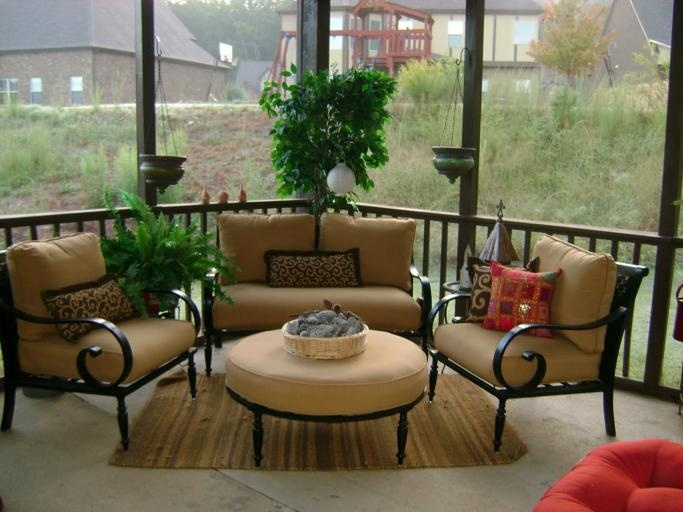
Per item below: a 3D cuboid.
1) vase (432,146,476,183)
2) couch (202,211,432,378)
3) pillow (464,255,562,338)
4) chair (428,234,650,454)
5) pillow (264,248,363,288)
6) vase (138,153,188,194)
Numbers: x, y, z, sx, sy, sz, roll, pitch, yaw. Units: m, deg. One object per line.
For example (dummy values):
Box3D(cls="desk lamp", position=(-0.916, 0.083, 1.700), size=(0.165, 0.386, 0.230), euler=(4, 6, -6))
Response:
Box3D(cls="vase", position=(0.938, -0.781, 4.913), size=(0.301, 0.273, 0.333), euler=(0, 4, -4))
Box3D(cls="couch", position=(-0.202, 0.315, 4.867), size=(1.759, 1.296, 0.961), euler=(1, 6, -4))
Box3D(cls="pillow", position=(1.214, 0.297, 4.012), size=(0.512, 0.455, 0.189), euler=(2, 1, 42))
Box3D(cls="chair", position=(1.376, 0.524, 4.120), size=(1.097, 1.240, 1.186), euler=(-2, 11, 3))
Box3D(cls="pillow", position=(-0.240, 0.102, 4.886), size=(0.826, 0.290, 0.190), euler=(0, 13, -2))
Box3D(cls="vase", position=(-1.458, -0.667, 4.712), size=(0.331, 0.300, 0.343), euler=(0, 2, -20))
